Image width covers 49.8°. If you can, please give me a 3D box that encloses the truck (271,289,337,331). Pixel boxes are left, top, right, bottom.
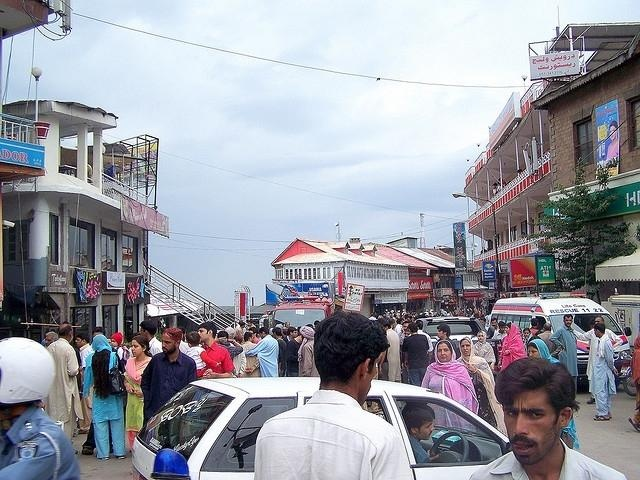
[{"bbox_3d":[-0.554,2.329,24.517,1.623,1.638,3.035,-3,-10,7],"label":"truck"}]

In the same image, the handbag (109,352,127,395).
[{"bbox_3d":[-3.226,2.151,10.992,0.267,0.629,0.261,4,-9,-23],"label":"handbag"}]

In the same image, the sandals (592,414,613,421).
[{"bbox_3d":[5.571,3.519,13.644,0.397,0.159,0.135,2,-16,4],"label":"sandals"}]

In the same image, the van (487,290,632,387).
[{"bbox_3d":[6.216,2.322,17.726,1.915,1.713,3.362,0,-12,-2],"label":"van"}]

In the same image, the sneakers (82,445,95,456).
[{"bbox_3d":[-3.841,3.504,11.440,0.181,0.144,0.188,3,-9,-18],"label":"sneakers"}]
